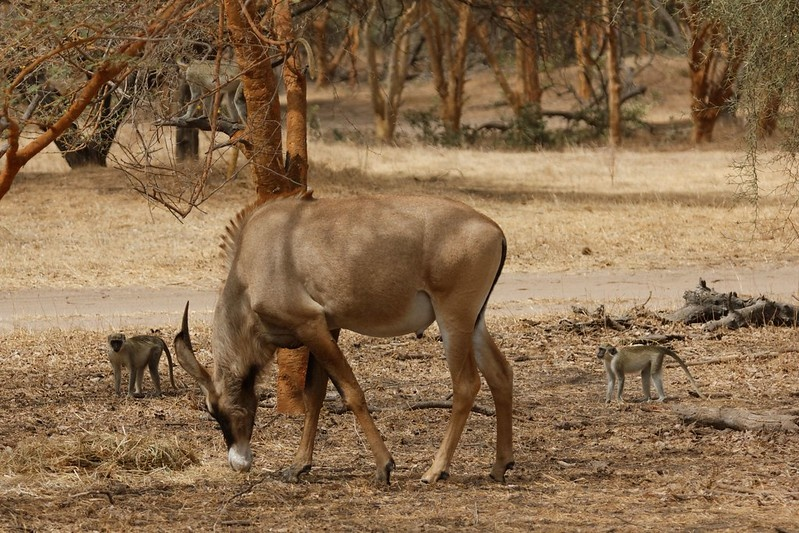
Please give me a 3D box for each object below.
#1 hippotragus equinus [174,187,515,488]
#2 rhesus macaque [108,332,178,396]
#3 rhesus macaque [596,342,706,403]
[{"bbox_3d":[-0.547,0.895,19.912,3.778,3.516,1.101,1,14,1],"label":"hippotragus equinus"},{"bbox_3d":[-3.781,1.366,22.321,0.751,0.962,0.448,-2,14,-13],"label":"rhesus macaque"},{"bbox_3d":[3.542,1.517,22.124,1.863,0.805,0.434,5,-3,-18],"label":"rhesus macaque"}]
